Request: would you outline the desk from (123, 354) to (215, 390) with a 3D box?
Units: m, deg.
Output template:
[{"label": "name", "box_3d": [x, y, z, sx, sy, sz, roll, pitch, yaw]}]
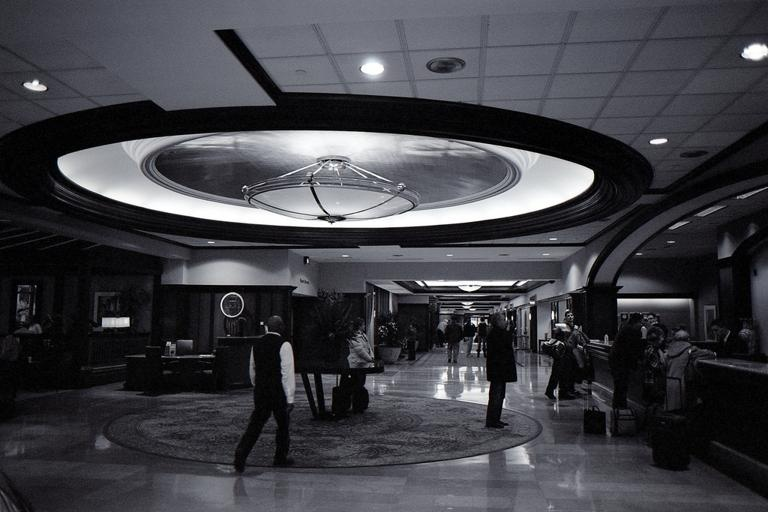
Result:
[{"label": "desk", "box_3d": [-5.695, 3.257, 13.113, 2.073, 0.825, 1.147, 0, -6, 0]}]

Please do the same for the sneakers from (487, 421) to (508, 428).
[{"label": "sneakers", "box_3d": [2.052, 3.078, 8.725, 0.388, 0.157, 0.134, -2, -8, 3]}]

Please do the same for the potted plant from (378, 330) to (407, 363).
[{"label": "potted plant", "box_3d": [0.275, 4.115, 21.230, 1.441, 0.994, 1.366, 0, -14, 0]}]

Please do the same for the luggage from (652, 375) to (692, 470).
[{"label": "luggage", "box_3d": [4.084, 2.376, 6.878, 0.467, 1.170, 0.782, -4, -9, 28]}]

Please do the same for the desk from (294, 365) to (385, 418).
[{"label": "desk", "box_3d": [-0.842, 2.733, 9.535, 1.307, 0.857, 1.792, -1, -8, 13]}]

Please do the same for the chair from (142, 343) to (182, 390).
[{"label": "chair", "box_3d": [-6.008, 3.042, 12.914, 0.875, 1.141, 1.047, 3, -8, -24]}]

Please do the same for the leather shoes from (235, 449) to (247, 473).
[{"label": "leather shoes", "box_3d": [-1.914, 2.697, 6.336, 0.141, 0.328, 0.230, 3, -8, -21]}]

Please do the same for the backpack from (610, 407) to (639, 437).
[{"label": "backpack", "box_3d": [4.166, 2.878, 8.294, 0.492, 0.427, 0.445, 0, -13, 3]}]

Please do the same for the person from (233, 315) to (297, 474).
[{"label": "person", "box_3d": [-1.624, 1.859, 6.557, 0.740, 2.037, 0.555, 1, -8, -12]}]
